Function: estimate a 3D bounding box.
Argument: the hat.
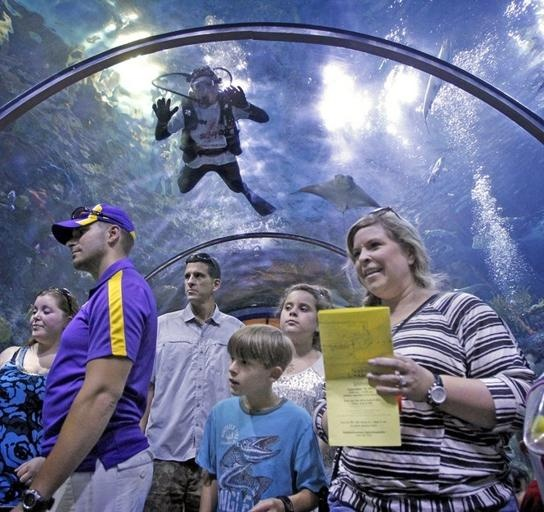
[{"bbox_3d":[-1.152,-0.221,3.299,0.447,0.205,0.272,11,-5,-26],"label":"hat"}]

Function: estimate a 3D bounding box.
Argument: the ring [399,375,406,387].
[{"bbox_3d":[0.605,0.577,2.349,0.029,0.049,0.031,3,-33,2],"label":"ring"}]

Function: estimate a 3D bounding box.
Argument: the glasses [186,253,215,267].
[{"bbox_3d":[-0.798,0.038,5.639,0.210,0.197,0.065,-1,14,12],"label":"glasses"}]

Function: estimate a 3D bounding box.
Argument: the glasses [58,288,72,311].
[{"bbox_3d":[-2.020,0.415,4.948,0.066,0.193,0.197,3,2,-26],"label":"glasses"}]

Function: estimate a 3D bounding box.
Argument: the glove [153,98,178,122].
[{"bbox_3d":[-1.939,-2.682,9.139,0.470,0.120,0.502,0,-41,-18],"label":"glove"}]

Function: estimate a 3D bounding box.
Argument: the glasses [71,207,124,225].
[{"bbox_3d":[-1.111,-0.243,3.266,0.258,0.112,0.161,11,-3,-23],"label":"glasses"}]
